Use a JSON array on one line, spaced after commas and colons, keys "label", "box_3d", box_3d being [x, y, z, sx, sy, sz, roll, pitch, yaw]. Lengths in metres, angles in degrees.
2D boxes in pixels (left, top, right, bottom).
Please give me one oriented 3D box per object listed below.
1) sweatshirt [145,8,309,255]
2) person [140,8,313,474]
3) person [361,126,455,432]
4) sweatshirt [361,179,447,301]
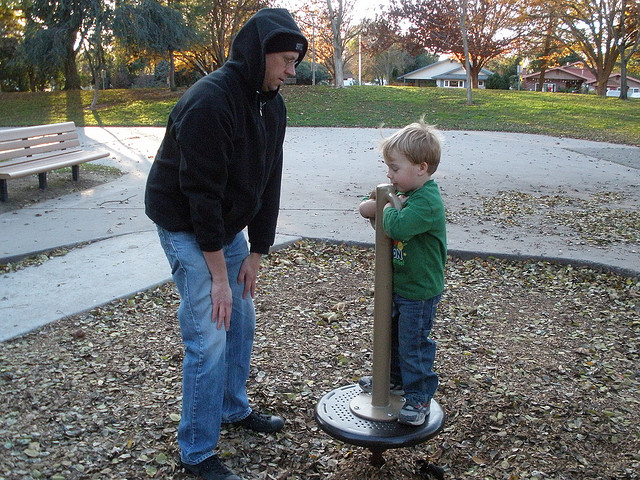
[{"label": "sweatshirt", "box_3d": [-0.492, -0.535, 2.965, 0.846, 1.402, 0.456, -14, 21, -36]}, {"label": "person", "box_3d": [-0.521, 0.031, 3.045, 0.545, 2.503, 0.913, 13, 22, 40]}, {"label": "person", "box_3d": [0.518, 0.181, 2.991, 0.447, 1.558, 0.596, -5, 17, -11]}, {"label": "sweatshirt", "box_3d": [0.560, -0.029, 3.335, 0.567, 0.989, 0.681, 3, 15, 15]}]
